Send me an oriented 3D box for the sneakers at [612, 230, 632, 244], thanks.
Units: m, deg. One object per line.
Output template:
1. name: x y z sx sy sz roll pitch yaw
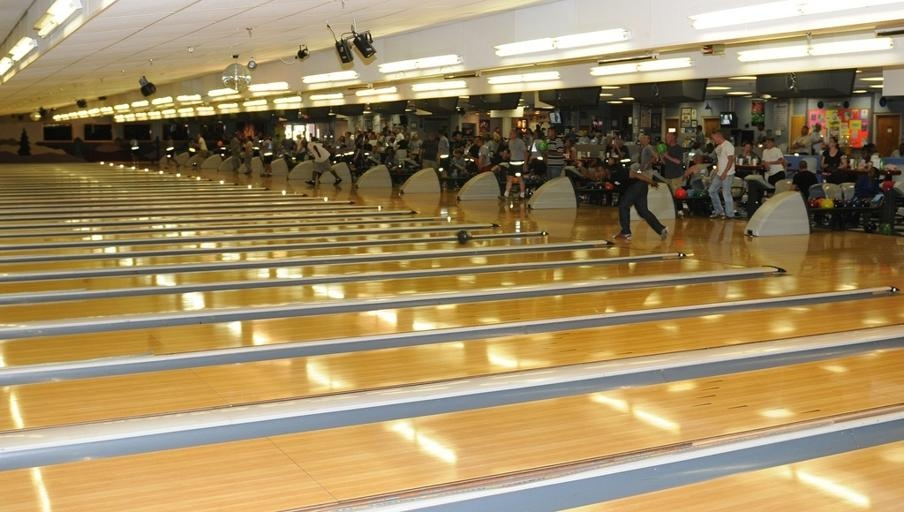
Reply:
1. sneakers: 2.590 -0.273 9.012 0.426 0.151 0.161 4 6 43

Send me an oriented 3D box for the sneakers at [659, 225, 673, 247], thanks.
1. sneakers: 3.331 -0.305 9.141 0.173 0.342 0.117 -6 24 3

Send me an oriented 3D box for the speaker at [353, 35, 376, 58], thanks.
1. speaker: -1.571 -3.736 10.403 0.320 0.450 0.596 -3 13 -11

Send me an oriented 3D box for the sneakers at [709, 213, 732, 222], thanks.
1. sneakers: 5.255 -0.769 11.433 0.132 0.132 0.355 -3 0 -20

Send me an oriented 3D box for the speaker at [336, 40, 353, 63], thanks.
1. speaker: -2.003 -3.773 10.885 0.250 0.390 0.479 -3 13 -12

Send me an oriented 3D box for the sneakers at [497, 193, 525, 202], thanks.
1. sneakers: 1.464 -1.458 14.534 0.298 0.177 0.666 3 6 35
